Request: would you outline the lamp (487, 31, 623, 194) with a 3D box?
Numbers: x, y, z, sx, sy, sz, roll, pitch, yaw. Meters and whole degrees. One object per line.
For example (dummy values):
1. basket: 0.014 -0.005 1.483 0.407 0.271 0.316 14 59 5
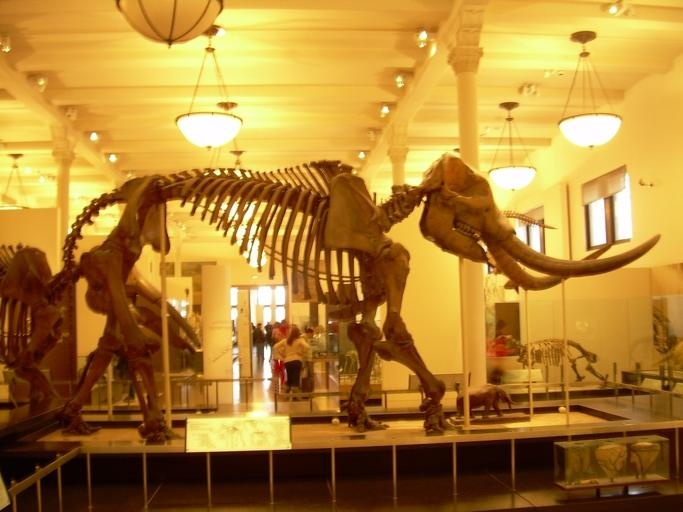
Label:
1. lamp: 3.941 -2.641 10.799 1.225 2.392 2.785 2 -5 -28
